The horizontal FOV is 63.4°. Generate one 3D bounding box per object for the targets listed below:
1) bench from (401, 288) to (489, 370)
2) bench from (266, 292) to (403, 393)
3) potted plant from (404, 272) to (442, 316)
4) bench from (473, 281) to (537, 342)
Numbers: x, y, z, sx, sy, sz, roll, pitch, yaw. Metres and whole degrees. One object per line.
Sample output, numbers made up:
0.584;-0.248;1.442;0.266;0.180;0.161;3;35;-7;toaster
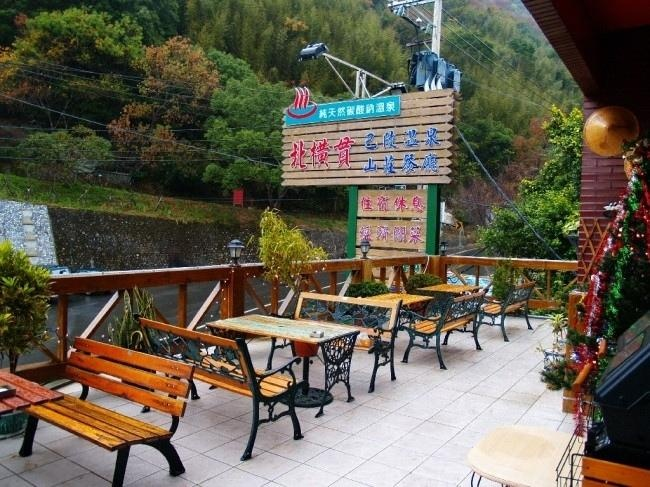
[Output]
1.752;1.195;7.694;0.723;0.965;1.828;3;1;32;bench
0.055;1.189;6.693;1.617;0.998;0.699;1;1;37;bench
1.885;0.788;9.821;0.580;0.717;0.679;24;-25;-34;potted plant
3.092;1.118;9.061;0.570;0.885;1.643;3;2;33;bench
